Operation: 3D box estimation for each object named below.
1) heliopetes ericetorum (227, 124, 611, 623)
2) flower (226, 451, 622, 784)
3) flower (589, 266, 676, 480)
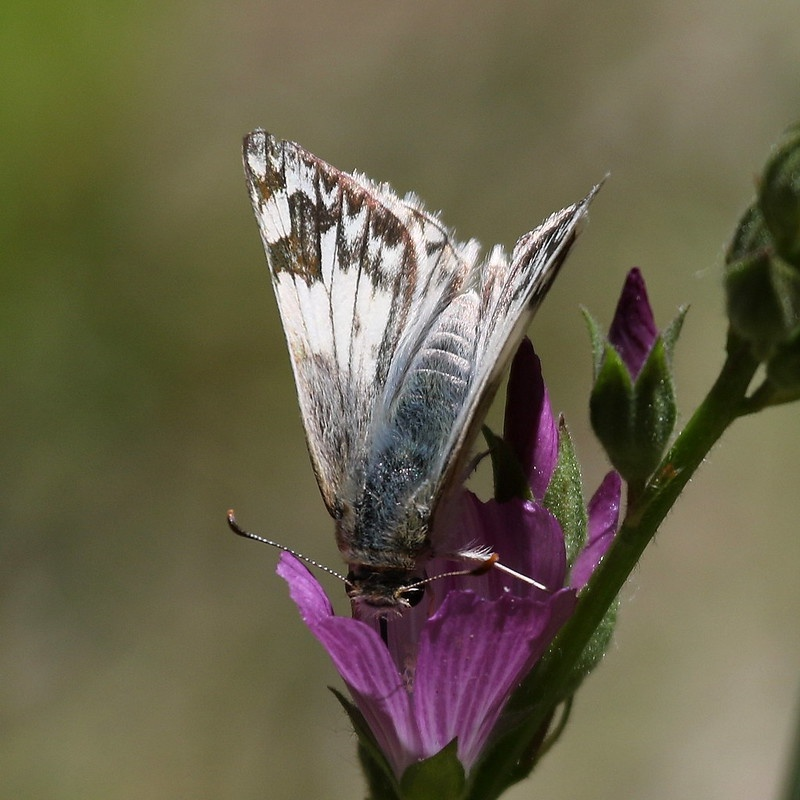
[{"bbox_3d":[-0.003,0.067,1.483,0.472,0.344,0.538,2,53,9],"label":"heliopetes ericetorum"},{"bbox_3d":[0.039,0.244,1.101,0.342,0.298,0.305,-8,26,18],"label":"flower"},{"bbox_3d":[0.235,-0.024,1.138,0.084,0.194,0.131,5,16,4],"label":"flower"}]
